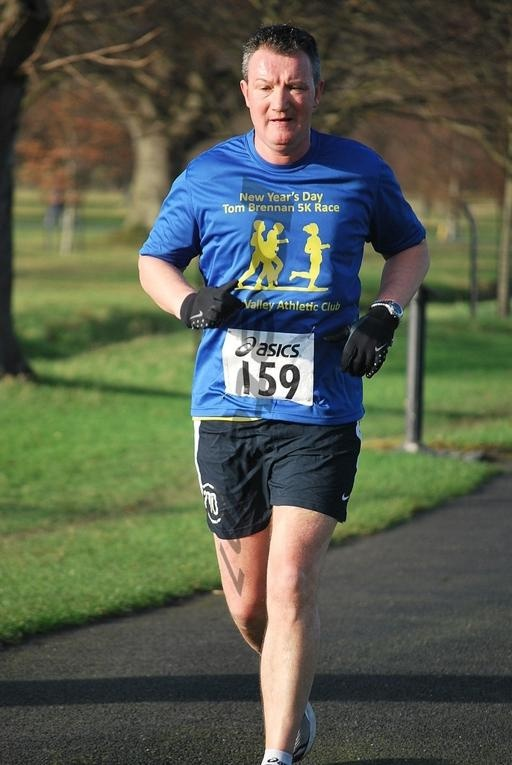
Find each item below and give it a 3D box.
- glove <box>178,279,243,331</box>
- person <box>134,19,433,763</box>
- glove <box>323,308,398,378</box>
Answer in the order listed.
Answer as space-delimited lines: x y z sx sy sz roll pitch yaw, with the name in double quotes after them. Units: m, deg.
-0.106 -0.171 2.077 0.103 0.048 0.131 29 -41 -31 "glove"
0.140 -0.031 2.152 0.584 1.600 0.840 -3 14 -27 "person"
0.267 -0.098 2.073 0.104 0.166 0.196 6 12 14 "glove"
